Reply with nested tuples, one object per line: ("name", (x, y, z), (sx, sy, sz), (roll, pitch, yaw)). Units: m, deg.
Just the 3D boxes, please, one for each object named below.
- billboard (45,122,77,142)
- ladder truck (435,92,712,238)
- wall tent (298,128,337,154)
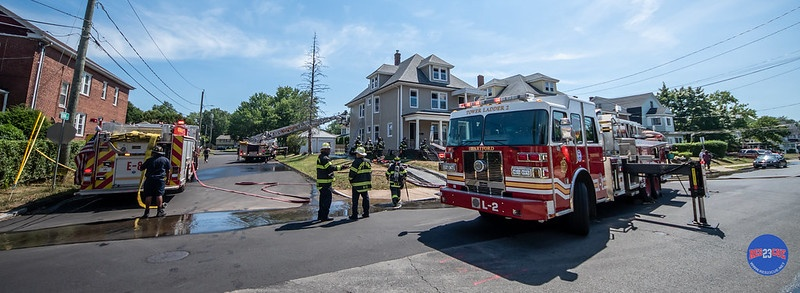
("billboard", (-29.517, -1.236, 30.419), (1.979, 1.653, 0.427), (0, -2, -5))
("ladder truck", (19.262, 1.133, 36.409), (33.596, 8.107, 13.453), (-3, -2, -38))
("wall tent", (-14.027, -1.310, 67.435), (8.732, 3.416, 6.785), (-2, 8, -2))
